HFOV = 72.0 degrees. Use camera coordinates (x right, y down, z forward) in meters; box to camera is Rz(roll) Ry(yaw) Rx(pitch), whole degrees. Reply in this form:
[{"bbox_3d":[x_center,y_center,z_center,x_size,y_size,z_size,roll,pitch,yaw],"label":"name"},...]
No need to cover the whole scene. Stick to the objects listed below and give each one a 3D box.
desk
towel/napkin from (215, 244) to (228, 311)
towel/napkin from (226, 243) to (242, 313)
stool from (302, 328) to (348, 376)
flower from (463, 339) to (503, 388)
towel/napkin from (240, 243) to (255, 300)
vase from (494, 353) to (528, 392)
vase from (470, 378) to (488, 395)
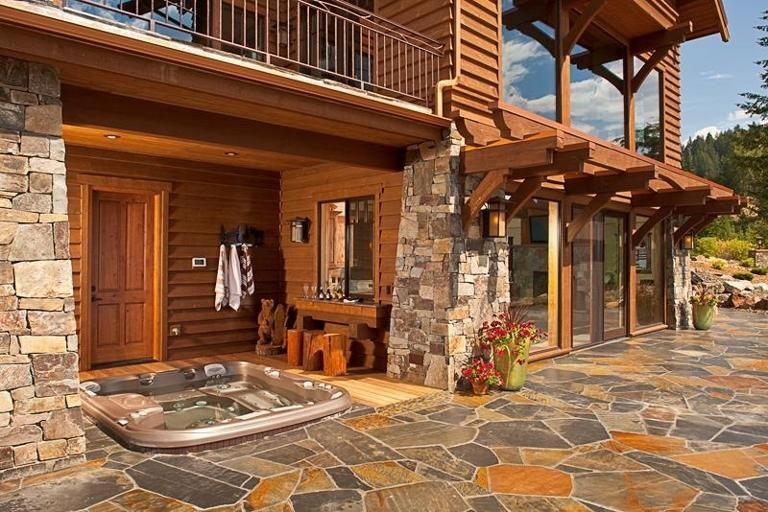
[{"bbox_3d":[-0.546,1.334,9.202,1.020,1.012,2.409,2,1,-45],"label":"desk"},{"bbox_3d":[-3.052,0.411,10.103,0.238,1.267,0.413,1,9,8],"label":"towel/napkin"},{"bbox_3d":[-2.824,0.408,10.189,0.256,1.248,0.299,-2,9,-12],"label":"towel/napkin"},{"bbox_3d":[-0.964,1.624,8.959,0.640,0.750,0.537,-1,-1,30],"label":"stool"},{"bbox_3d":[1.507,1.659,8.056,0.660,0.651,0.605,4,9,16],"label":"flower"},{"bbox_3d":[-2.629,0.281,10.411,0.257,1.047,0.377,-2,9,-12],"label":"towel/napkin"},{"bbox_3d":[1.906,1.735,8.093,0.611,0.557,0.600,-6,-7,43],"label":"vase"},{"bbox_3d":[1.451,1.940,7.897,0.264,0.155,0.236,-1,-7,5],"label":"vase"}]
